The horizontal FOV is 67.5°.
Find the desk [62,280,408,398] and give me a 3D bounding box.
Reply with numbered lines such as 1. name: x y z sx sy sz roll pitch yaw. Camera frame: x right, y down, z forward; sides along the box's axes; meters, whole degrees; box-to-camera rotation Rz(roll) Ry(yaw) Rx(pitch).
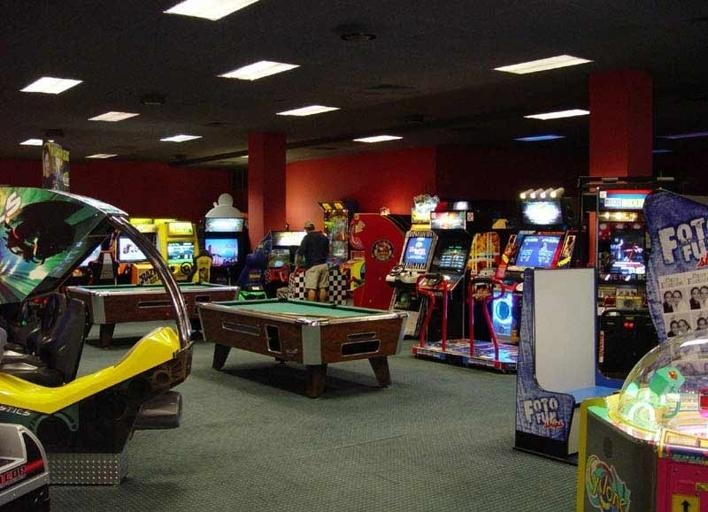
1. desk: -1.709 0.924 6.778 5.145 0.816 1.498 2 2 37

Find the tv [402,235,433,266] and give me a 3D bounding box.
1. tv: 1.013 -0.058 8.036 0.111 0.427 0.479 25 -13 -41

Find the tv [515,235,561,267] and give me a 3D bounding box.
1. tv: 2.409 -0.067 6.853 0.173 0.339 0.439 20 -12 -31
